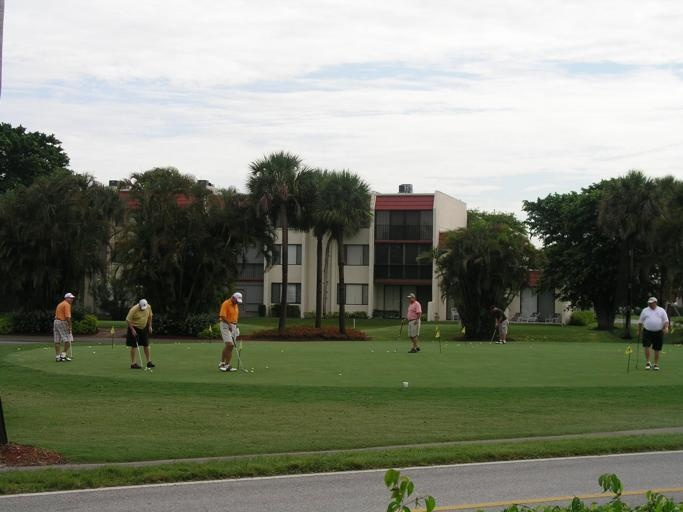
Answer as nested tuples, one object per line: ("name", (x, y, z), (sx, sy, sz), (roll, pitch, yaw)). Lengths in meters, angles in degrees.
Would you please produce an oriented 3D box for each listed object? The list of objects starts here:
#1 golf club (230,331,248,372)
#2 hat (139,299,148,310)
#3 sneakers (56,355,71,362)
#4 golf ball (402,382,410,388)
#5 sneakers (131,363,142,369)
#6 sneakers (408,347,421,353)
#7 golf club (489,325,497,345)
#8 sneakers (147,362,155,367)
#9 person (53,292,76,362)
("golf club", (-3.343, 3.118, 31.765), (0.089, 1.346, 0.373), (-6, -25, 46))
("hat", (-5.947, 1.453, 29.390), (0.225, 0.374, 0.200), (15, -50, -23))
("sneakers", (-8.679, 3.201, 30.582), (0.547, 0.203, 0.254), (2, -36, -18))
("golf ball", (1.691, 3.426, 26.175), (0.144, 0.161, 0.108), (-1, -3, 1))
("sneakers", (-5.989, 3.177, 28.565), (0.384, 0.194, 0.141), (-1, -1, 7))
("sneakers", (2.466, 3.190, 33.502), (0.437, 0.193, 0.186), (0, -3, -13))
("golf club", (7.035, 3.594, 45.392), (0.351, 1.252, 0.155), (2, -16, 27))
("sneakers", (-5.579, 3.172, 28.747), (0.223, 0.157, 0.123), (-1, 2, -16))
("person", (-8.695, 2.196, 30.694), (0.523, 2.050, 1.099), (-1, 4, -15))
